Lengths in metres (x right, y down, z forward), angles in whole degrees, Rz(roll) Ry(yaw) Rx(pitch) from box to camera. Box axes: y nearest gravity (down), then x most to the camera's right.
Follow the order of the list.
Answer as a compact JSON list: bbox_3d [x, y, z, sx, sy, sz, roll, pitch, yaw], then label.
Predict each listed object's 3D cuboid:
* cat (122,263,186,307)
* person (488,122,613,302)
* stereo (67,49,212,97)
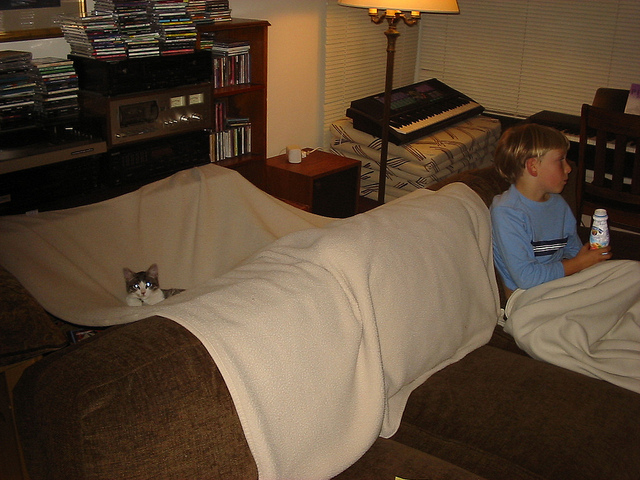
[{"bbox_3d":[-0.686,0.192,2.131,0.191,0.163,0.327,5,6,14],"label":"cat"},{"bbox_3d":[0.952,-0.068,2.108,0.584,0.773,0.504,8,26,29],"label":"person"},{"bbox_3d":[-0.929,-0.927,2.793,0.728,0.220,0.286,-14,29,-32],"label":"stereo"}]
